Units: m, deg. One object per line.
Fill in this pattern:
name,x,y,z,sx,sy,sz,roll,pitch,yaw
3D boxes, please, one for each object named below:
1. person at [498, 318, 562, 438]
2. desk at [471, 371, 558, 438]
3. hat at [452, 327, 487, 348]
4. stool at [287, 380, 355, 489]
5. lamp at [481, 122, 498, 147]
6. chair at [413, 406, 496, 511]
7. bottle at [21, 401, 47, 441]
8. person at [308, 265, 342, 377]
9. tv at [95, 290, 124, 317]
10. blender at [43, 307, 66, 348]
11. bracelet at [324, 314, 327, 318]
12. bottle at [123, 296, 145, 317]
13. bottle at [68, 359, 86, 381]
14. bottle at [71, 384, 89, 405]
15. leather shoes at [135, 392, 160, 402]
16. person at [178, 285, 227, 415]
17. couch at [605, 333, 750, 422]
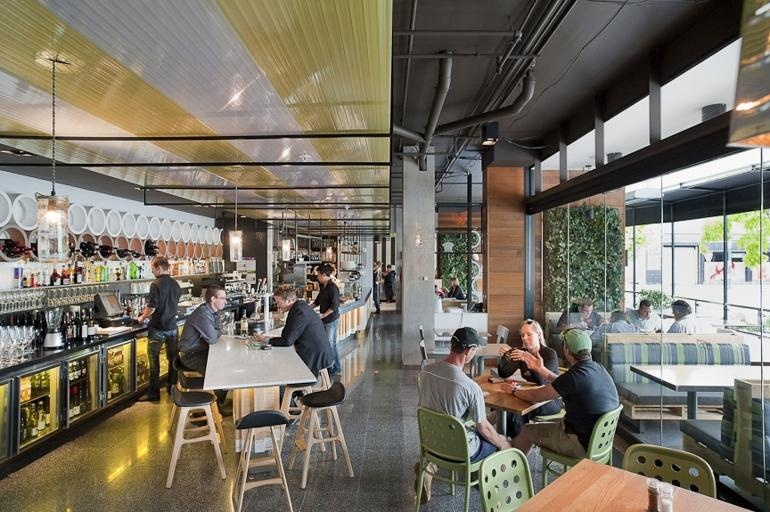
person,1.723,1.561,5.850,0.831,1.495,0.658,13,-12,-28
desk,1.317,1.544,5.341,0.692,0.658,0.699,7,12,32
hat,0.876,0.832,4.934,0.388,0.198,0.246,-2,5,-41
stool,-0.799,2.015,6.026,0.961,1.474,0.957,5,-7,-19
lamp,1.530,-1.790,7.216,0.205,0.324,0.403,-1,-2,6
chair,0.618,2.005,4.882,0.614,1.137,0.831,-2,-2,9
bottle,-4.104,1.921,5.771,0.135,0.412,0.336,-2,-2,7
person,-1.065,1.113,8.516,0.613,1.898,0.579,-4,9,-33
tv,-4.299,0.755,7.668,0.197,0.340,0.385,-16,-1,2
blender,-4.223,0.927,6.309,0.218,0.459,0.652,0,-2,-33
bracelet,-0.994,1.007,8.218,0.056,0.050,0.015,-2,-1,-5
bottle,-4.204,0.854,8.444,0.308,0.461,0.468,1,-7,-18
bottle,-3.984,1.477,6.380,0.118,0.264,0.272,-1,-2,-13
bottle,-3.977,1.789,6.434,0.074,0.247,0.204,-2,-2,23
leather shoes,-3.539,2.106,7.435,0.349,0.130,0.184,-2,-2,6
person,-2.378,1.208,6.635,0.752,1.528,0.572,3,5,-15
couch,3.276,1.218,5.714,1.668,0.857,0.953,-1,-6,9
